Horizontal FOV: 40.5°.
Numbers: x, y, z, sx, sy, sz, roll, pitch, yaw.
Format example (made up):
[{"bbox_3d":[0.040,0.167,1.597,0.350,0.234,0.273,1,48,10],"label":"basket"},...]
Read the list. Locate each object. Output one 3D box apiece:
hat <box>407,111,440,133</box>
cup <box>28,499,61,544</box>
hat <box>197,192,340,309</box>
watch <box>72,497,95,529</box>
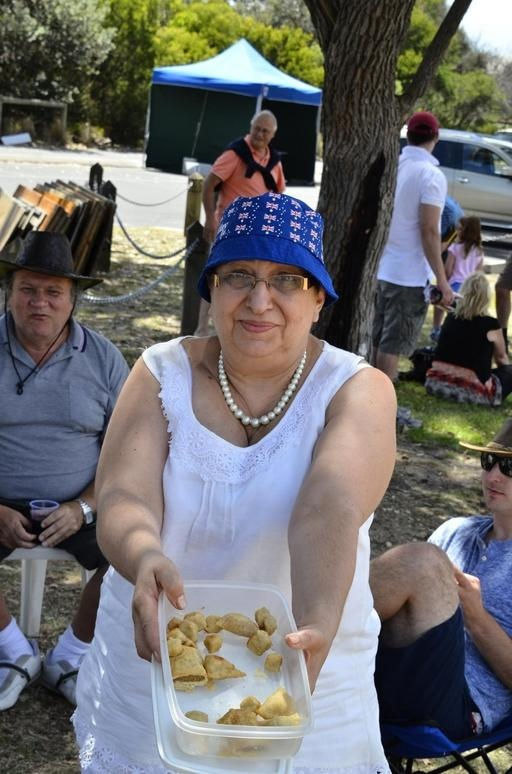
[{"bbox_3d":[1.407,-2.223,5.878,0.203,0.145,0.282,1,33,8],"label":"hat"},{"bbox_3d":[-0.787,0.507,2.567,0.132,0.166,0.120,5,-6,1],"label":"cup"},{"bbox_3d":[0.044,-0.318,1.659,0.222,0.159,0.294,6,1,25],"label":"hat"},{"bbox_3d":[-0.667,0.496,2.666,0.069,0.089,0.104,-19,33,-30],"label":"watch"}]
